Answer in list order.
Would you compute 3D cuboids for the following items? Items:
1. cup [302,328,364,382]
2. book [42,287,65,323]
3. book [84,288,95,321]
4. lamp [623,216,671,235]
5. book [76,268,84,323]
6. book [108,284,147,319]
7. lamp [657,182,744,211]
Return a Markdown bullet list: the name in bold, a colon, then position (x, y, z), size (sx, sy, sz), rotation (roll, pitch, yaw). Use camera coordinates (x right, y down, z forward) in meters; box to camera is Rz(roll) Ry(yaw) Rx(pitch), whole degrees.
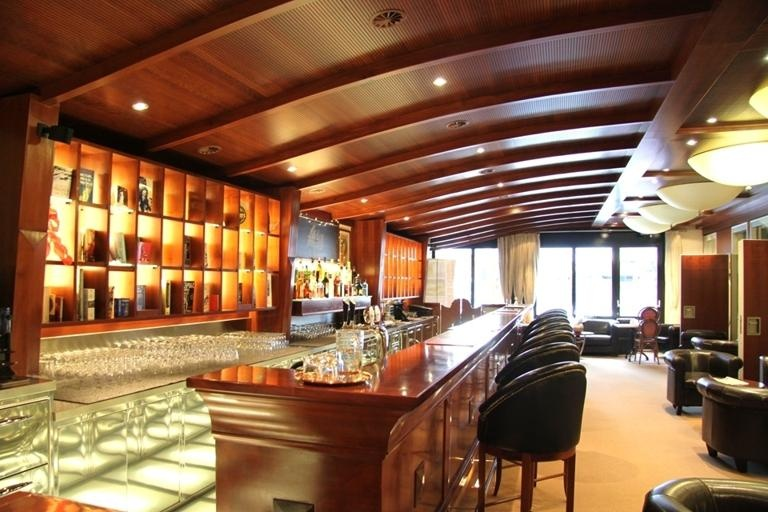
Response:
- **cup**: position (-0.350, 0.707, 3.690), size (0.265, 0.408, 0.471), rotation (4, 4, 36)
- **book**: position (-3.159, 0.473, 4.980), size (0.166, 0.337, 0.294), rotation (3, -5, -30)
- **book**: position (-2.965, 0.492, 5.249), size (0.082, 0.318, 0.135), rotation (-1, -5, 5)
- **lamp**: position (5.745, -0.691, 11.617), size (0.860, 0.264, 0.802), rotation (1, 1, -9)
- **book**: position (-3.041, 0.379, 5.202), size (0.075, 0.531, 0.257), rotation (2, -5, -30)
- **book**: position (-2.781, 0.494, 5.604), size (0.229, 0.350, 0.564), rotation (-2, -5, 21)
- **lamp**: position (4.919, -0.942, 8.185), size (0.739, 0.256, 0.705), rotation (1, -3, -28)
